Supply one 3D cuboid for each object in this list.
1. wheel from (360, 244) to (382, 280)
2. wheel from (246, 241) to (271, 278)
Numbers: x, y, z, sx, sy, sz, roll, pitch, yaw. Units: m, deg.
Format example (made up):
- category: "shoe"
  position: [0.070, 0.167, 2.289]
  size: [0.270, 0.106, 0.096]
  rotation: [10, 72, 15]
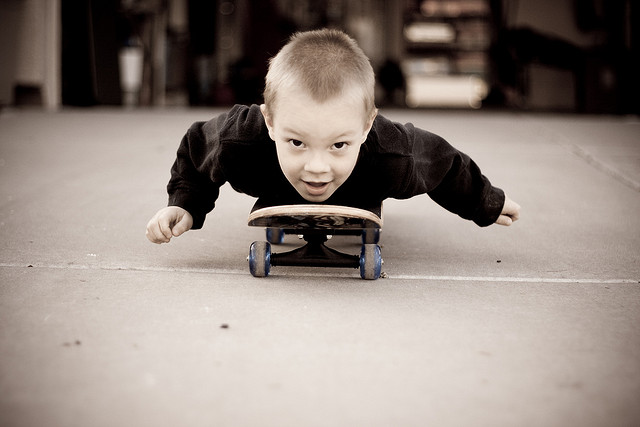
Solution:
- category: "wheel"
  position: [0.162, 0.150, 2.142]
  size: [0.070, 0.108, 0.132]
  rotation: [3, 3, 6]
- category: "wheel"
  position: [-0.181, 0.140, 2.141]
  size: [0.092, 0.120, 0.119]
  rotation: [2, 15, 1]
